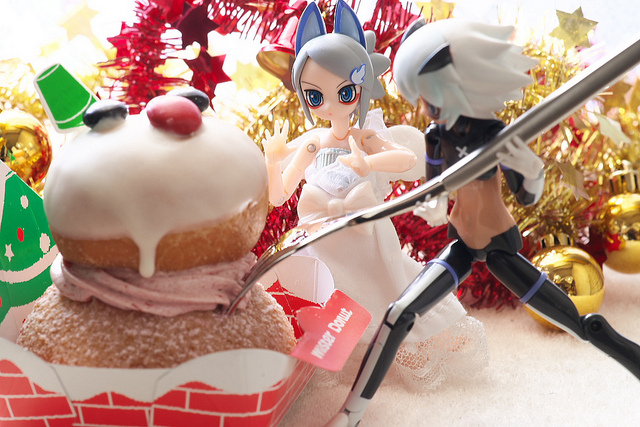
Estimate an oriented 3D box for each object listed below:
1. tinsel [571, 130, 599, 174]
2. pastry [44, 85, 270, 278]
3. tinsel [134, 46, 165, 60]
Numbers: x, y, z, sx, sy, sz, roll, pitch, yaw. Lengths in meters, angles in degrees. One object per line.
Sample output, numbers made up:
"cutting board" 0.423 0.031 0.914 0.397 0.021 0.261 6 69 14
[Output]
"tinsel" 0.941 -0.226 1.887 0.045 0.065 0.224 42 55 -15
"pastry" -0.429 -0.103 1.413 0.555 0.407 0.549 -13 25 -25
"tinsel" -0.555 -0.518 1.722 0.087 0.035 0.021 -4 46 -17
